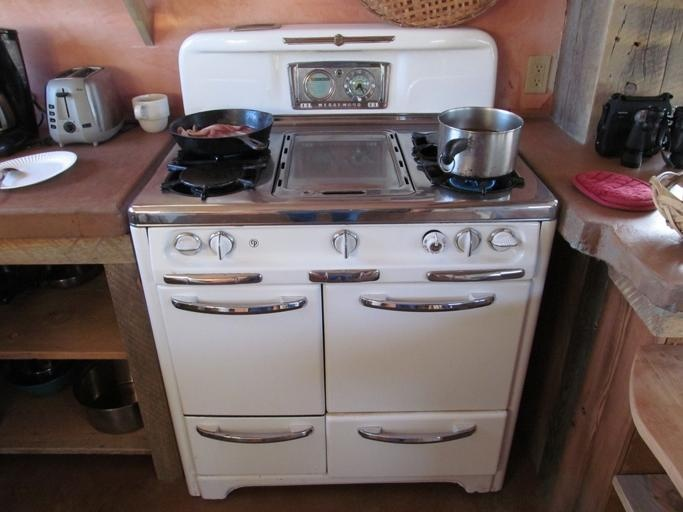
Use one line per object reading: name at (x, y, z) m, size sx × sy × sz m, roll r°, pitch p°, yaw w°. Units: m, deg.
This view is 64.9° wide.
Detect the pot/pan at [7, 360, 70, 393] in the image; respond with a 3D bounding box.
pot/pan at (-1.149, 0.459, 2.043) m, size 0.169 × 0.085 × 0.156 m, roll -7°, pitch 24°, yaw -29°

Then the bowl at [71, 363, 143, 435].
bowl at (-0.854, 0.526, 2.041) m, size 0.300 × 0.095 × 0.244 m, roll -12°, pitch 42°, yaw -16°

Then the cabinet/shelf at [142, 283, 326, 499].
cabinet/shelf at (-0.292, 0.367, 1.707) m, size 0.590 × 0.772 × 0.592 m, roll -4°, pitch 42°, yaw -3°

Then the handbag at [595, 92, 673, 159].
handbag at (0.896, -0.412, 1.674) m, size 0.257 × 0.201 × 0.081 m, roll -2°, pitch 21°, yaw -3°

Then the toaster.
toaster at (-0.822, -0.525, 1.880) m, size 0.253 × 0.212 × 0.299 m, roll 0°, pitch 35°, yaw -4°

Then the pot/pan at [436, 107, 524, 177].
pot/pan at (0.457, -0.319, 1.540) m, size 0.348 × 0.109 × 0.184 m, roll -10°, pitch 24°, yaw -12°

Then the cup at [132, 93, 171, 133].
cup at (-0.669, -0.531, 1.961) m, size 0.141 × 0.106 × 0.146 m, roll 5°, pitch 39°, yaw -4°
